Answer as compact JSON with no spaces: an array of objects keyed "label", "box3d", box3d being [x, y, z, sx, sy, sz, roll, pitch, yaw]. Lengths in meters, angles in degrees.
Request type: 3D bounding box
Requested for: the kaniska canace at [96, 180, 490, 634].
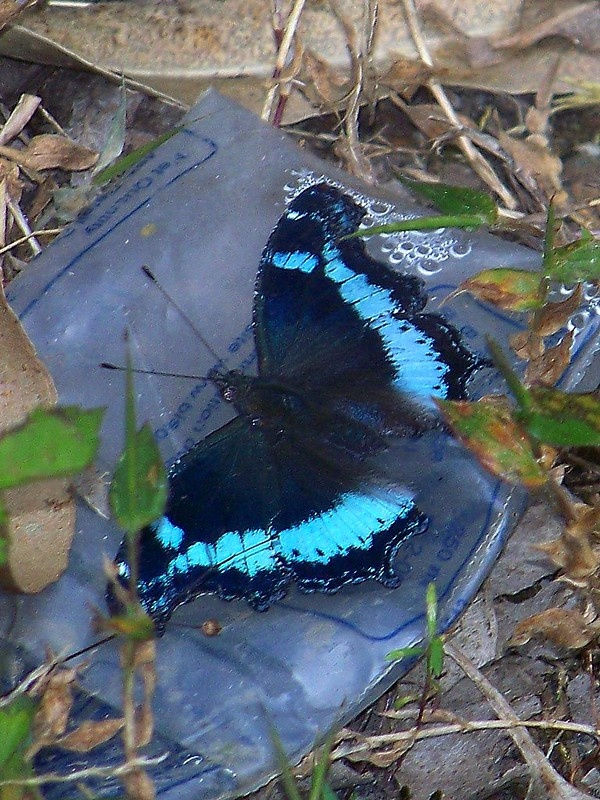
[{"label":"kaniska canace","box3d":[0.022,0.023,0.976,0.273,0.103,0.480,18,83,2]}]
